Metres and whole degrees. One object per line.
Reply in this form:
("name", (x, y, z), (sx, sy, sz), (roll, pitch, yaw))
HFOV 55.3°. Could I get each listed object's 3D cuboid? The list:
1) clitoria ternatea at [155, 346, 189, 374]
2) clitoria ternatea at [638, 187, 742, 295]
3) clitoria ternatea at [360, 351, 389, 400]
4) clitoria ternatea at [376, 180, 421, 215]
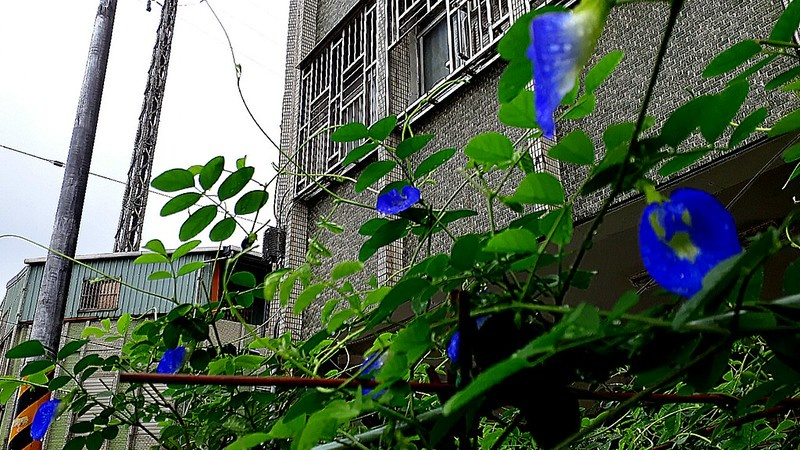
("clitoria ternatea", (0.287, 0.547, 3.371), (0.085, 0.161, 0.226), (6, -7, -30))
("clitoria ternatea", (1.198, 0.048, 3.200), (0.411, 0.445, 0.100), (1, -1, 5))
("clitoria ternatea", (-0.107, 0.630, 3.256), (0.125, 0.196, 0.135), (-6, -29, -2))
("clitoria ternatea", (-0.015, -0.107, 3.577), (0.109, 0.141, 0.249), (18, -36, -38))
